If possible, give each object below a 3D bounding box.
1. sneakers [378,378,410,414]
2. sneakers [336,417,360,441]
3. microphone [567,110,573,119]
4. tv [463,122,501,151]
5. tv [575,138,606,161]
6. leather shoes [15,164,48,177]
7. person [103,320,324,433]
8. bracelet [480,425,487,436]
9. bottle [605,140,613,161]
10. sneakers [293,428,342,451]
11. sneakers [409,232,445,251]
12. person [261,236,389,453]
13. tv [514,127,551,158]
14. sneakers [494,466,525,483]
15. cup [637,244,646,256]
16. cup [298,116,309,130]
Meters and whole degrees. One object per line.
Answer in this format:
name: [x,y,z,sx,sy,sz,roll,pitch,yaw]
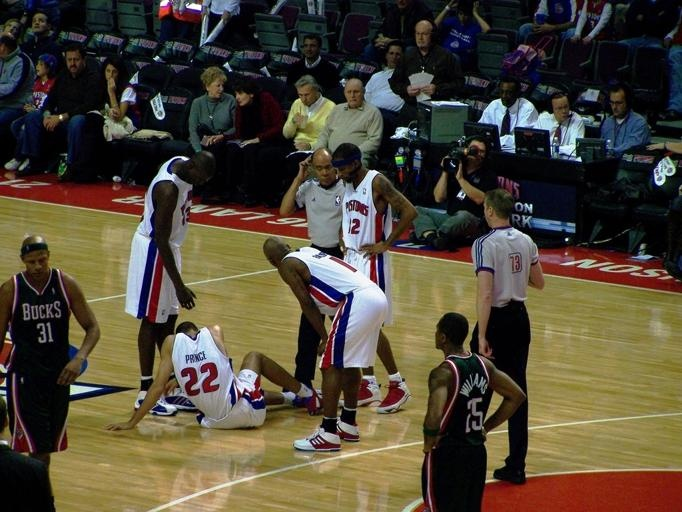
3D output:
sneakers: [0.431,1.053,6.789,0.129,0.187,0.368,4,28,36]
sneakers: [0.028,1.230,6.184,0.210,0.102,0.080,10,11,32]
microphone: [2.986,-1.828,11.246,0.067,0.095,0.091,3,8,9]
tv: [1.778,-1.490,10.901,0.468,0.401,0.157,14,44,29]
tv: [3.115,-1.293,10.764,0.370,0.197,0.224,7,5,15]
leather shoes: [-5.135,-1.415,14.434,0.494,0.221,0.179,-2,8,-39]
person: [-0.828,0.912,6.378,1.221,0.773,0.765,-3,1,12]
bracelet: [0.802,0.968,4.852,0.026,0.084,0.035,-6,37,13]
bottle: [3.436,-1.354,11.016,0.098,0.261,0.270,7,4,17]
sneakers: [-0.143,1.282,6.076,0.356,0.175,0.135,2,0,1]
sneakers: [1.080,-0.189,10.936,0.166,0.225,0.534,-2,18,-31]
person: [-0.109,0.641,6.022,0.804,1.425,0.349,6,4,2]
tv: [2.423,-1.413,10.922,0.332,0.269,0.122,16,46,41]
sneakers: [1.101,1.419,5.682,0.201,0.091,0.090,17,20,37]
cup: [3.750,-0.088,10.747,0.098,0.104,0.094,6,4,0]
cup: [-0.526,-1.865,12.191,0.135,0.156,0.144,2,37,-2]
